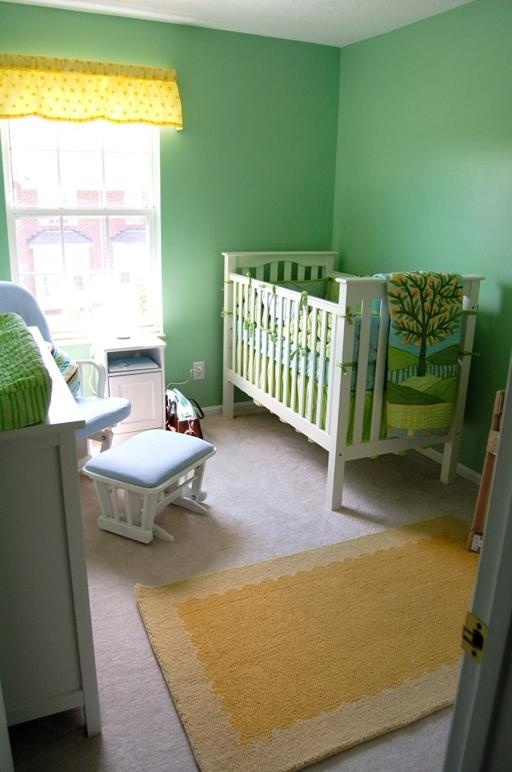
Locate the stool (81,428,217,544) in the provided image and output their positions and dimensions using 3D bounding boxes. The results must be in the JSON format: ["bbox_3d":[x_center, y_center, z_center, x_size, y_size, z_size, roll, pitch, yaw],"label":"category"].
[{"bbox_3d":[-0.431,0.366,2.460,0.428,0.356,0.534,12,22,27],"label":"stool"}]

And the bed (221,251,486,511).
[{"bbox_3d":[0.483,-0.170,3.327,1.105,1.225,1.570,-3,11,-20],"label":"bed"}]

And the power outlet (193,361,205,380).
[{"bbox_3d":[-0.394,-0.106,3.839,0.096,0.172,0.043,-7,20,-26],"label":"power outlet"}]
